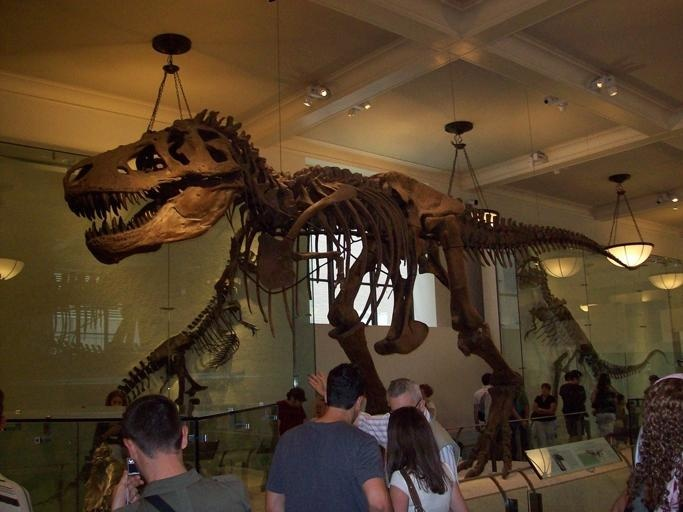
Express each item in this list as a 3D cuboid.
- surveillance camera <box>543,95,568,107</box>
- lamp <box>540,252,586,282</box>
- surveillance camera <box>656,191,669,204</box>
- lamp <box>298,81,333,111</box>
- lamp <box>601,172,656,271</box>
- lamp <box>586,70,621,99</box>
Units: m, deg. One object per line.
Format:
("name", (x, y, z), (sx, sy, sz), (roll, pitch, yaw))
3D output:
("surveillance camera", (3.086, -2.231, 8.217), (0.321, 0.102, 0.181), (9, -6, -22))
("lamp", (4.192, 0.166, 10.709), (0.809, 0.488, 0.226), (-2, -10, -17))
("surveillance camera", (7.165, -1.326, 12.669), (0.253, 0.239, 0.137), (-4, -4, -4))
("lamp", (-0.361, -2.201, 7.769), (0.252, 0.226, 0.334), (2, -6, -37))
("lamp", (5.985, -0.598, 11.987), (0.777, 2.018, 5.118), (-9, -10, 26))
("lamp", (3.571, -2.375, 7.786), (0.319, 0.144, 0.412), (-3, -7, 29))
